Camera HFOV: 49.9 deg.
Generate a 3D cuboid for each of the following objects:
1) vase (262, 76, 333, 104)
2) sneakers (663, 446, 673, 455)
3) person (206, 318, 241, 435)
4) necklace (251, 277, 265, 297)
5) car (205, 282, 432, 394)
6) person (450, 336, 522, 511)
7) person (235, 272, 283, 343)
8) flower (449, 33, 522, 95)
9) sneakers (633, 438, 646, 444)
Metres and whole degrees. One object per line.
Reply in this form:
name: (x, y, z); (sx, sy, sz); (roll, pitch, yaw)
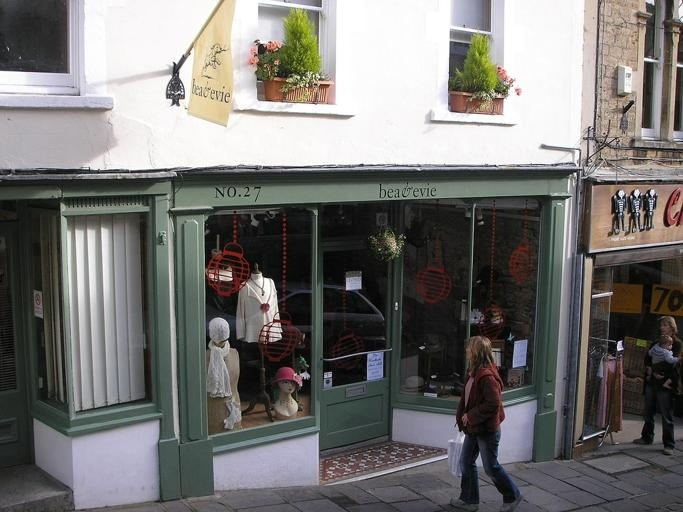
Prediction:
vase: (-0.512, -1.997, 8.890); (0.915, 0.341, 0.254); (-1, 14, -38)
sneakers: (5.178, 3.069, 11.584); (0.073, 0.091, 0.207); (1, 6, 26)
person: (-1.412, 1.435, 8.859); (0.474, 1.347, 0.306); (0, 12, -35)
necklace: (-1.020, 0.381, 9.092); (0.051, 0.200, 0.152); (-22, -7, -2)
car: (0.079, 1.159, 10.049); (2.638, 1.370, 1.522); (-4, 6, -14)
person: (1.761, 2.054, 8.744); (0.797, 2.123, 0.443); (10, 10, 12)
person: (-1.055, 0.616, 9.105); (0.734, 1.065, 0.353); (-7, 12, -42)
flower: (1.952, -2.466, 10.241); (1.064, 1.141, 0.805); (0, 15, -10)
sneakers: (4.903, 3.032, 12.033); (0.168, 0.077, 0.076); (5, 5, 25)
